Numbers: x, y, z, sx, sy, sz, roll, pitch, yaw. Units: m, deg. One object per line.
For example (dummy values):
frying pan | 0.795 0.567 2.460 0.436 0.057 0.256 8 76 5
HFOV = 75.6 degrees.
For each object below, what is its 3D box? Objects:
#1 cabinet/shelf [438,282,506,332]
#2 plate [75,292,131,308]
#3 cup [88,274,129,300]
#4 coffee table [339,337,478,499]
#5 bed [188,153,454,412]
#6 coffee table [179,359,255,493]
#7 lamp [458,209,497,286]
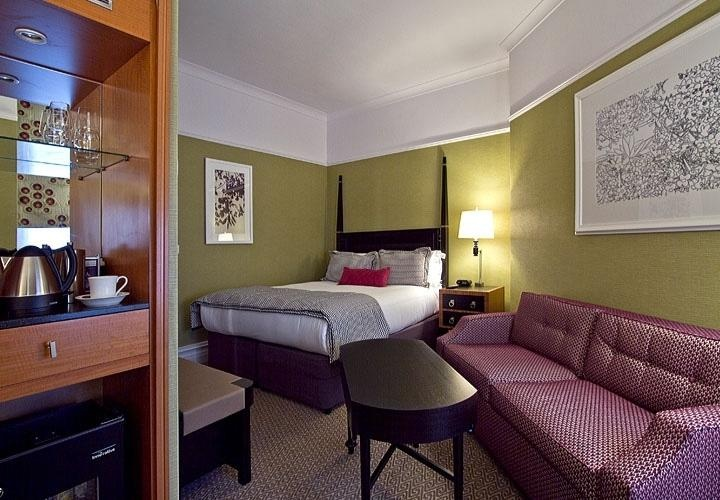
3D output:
cabinet/shelf | 1.128 0.525 4.814 0.452 0.507 0.506 3 7 28
plate | -1.319 0.248 2.359 0.253 0.062 0.238 -1 3 -16
cup | -1.291 0.194 2.391 0.113 0.129 0.170 -15 -15 43
coffee table | 0.241 0.633 2.847 0.632 0.883 1.220 -1 5 -5
bed | -0.305 0.462 5.121 1.903 1.625 2.470 0 0 33
coffee table | -0.925 1.153 2.955 0.643 0.457 0.353 5 8 39
lamp | 1.286 -0.040 5.099 0.356 0.856 0.498 1 3 17
